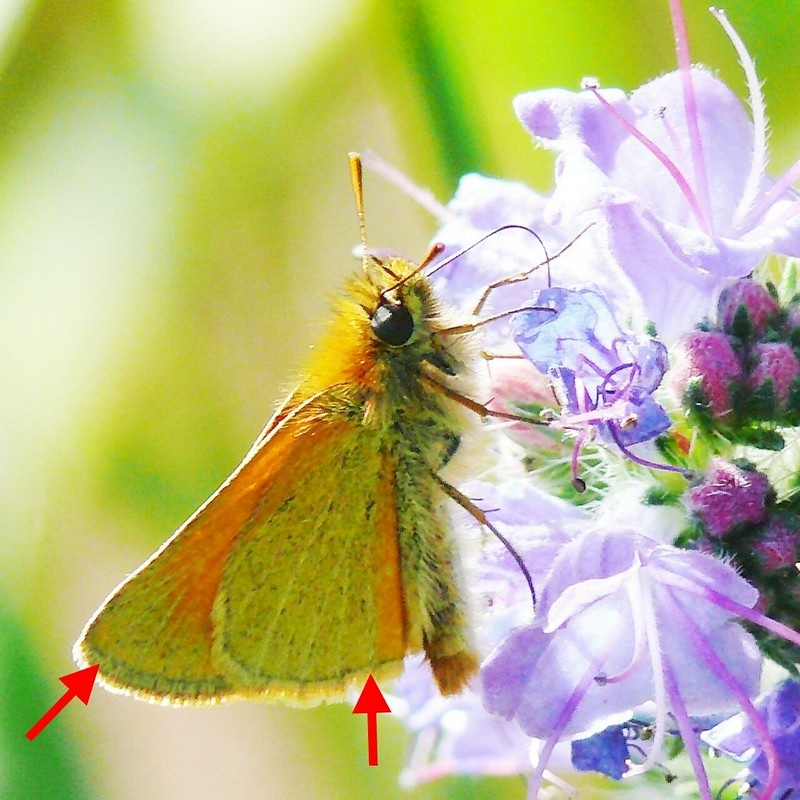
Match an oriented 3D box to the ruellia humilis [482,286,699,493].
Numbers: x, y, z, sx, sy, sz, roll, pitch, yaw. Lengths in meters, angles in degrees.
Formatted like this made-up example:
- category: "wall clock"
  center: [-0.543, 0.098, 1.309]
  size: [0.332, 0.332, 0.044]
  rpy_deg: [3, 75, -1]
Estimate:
- category: "ruellia humilis"
  center: [0.349, -0.036, 1.970]
  size: [0.177, 0.268, 0.093]
  rpy_deg: [-23, -47, 12]
